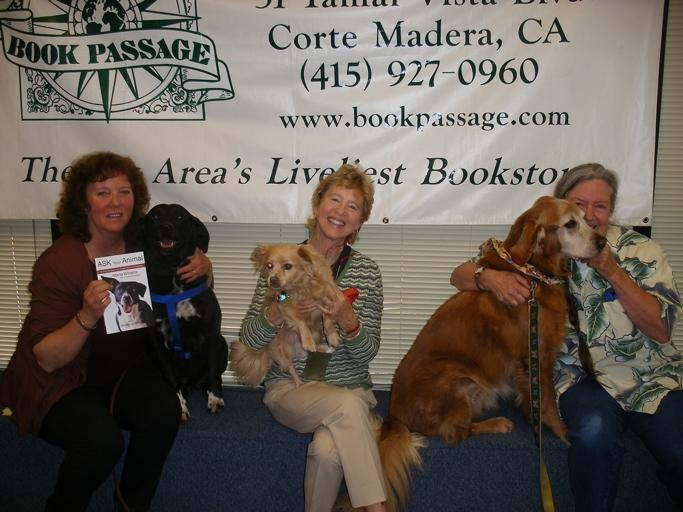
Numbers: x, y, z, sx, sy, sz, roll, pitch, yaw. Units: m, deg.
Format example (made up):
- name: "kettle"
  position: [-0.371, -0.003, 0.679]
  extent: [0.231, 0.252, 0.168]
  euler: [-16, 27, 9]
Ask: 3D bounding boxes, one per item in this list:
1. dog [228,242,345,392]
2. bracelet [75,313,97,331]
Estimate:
- name: "dog"
  position: [-0.375, 0.359, 4.153]
  extent: [0.668, 0.934, 0.527]
  euler: [-17, 26, -18]
- name: "bracelet"
  position: [-1.581, 0.414, 4.001]
  extent: [0.115, 0.121, 0.041]
  euler: [2, 13, -7]
